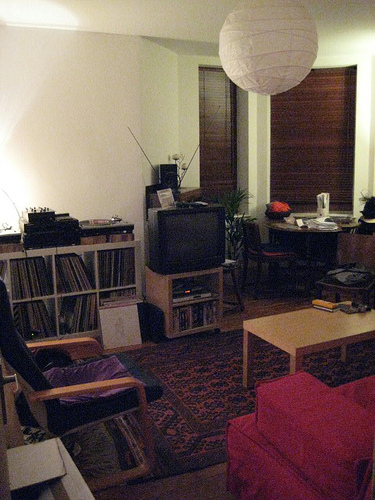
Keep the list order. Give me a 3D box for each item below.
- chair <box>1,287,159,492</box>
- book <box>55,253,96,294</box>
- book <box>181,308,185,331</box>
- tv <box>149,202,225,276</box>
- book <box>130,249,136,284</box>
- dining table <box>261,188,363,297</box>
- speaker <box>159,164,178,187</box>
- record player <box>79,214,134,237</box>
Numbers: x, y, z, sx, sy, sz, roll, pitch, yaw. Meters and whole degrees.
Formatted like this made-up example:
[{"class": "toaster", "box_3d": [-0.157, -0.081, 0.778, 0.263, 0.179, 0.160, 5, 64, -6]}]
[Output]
[{"class": "chair", "box_3d": [-0.508, 0.537, 2.105, 0.845, 1.224, 0.720, -6, 15, -22]}, {"class": "book", "box_3d": [-0.875, 0.183, 3.229, 0.071, 0.313, 0.296, -25, -12, 17]}, {"class": "book", "box_3d": [-0.040, 0.581, 3.267, 0.026, 0.190, 0.007, -7, 10, -20]}, {"class": "tv", "box_3d": [-0.014, -0.104, 3.354, 0.613, 0.548, 0.341, -7, 9, -24]}, {"class": "book", "box_3d": [-0.484, 0.150, 3.406, 0.054, 0.305, 0.011, -6, 10, -16]}, {"class": "dining table", "box_3d": [1.535, -0.090, 4.723, 1.012, 1.153, 1.346, 3, 12, 33]}, {"class": "speaker", "box_3d": [-0.193, -0.786, 4.050, 0.194, 0.389, 0.201, -2, 11, -4]}, {"class": "record player", "box_3d": [-0.707, -0.202, 3.387, 0.443, 0.140, 0.305, -7, 11, -17]}]
